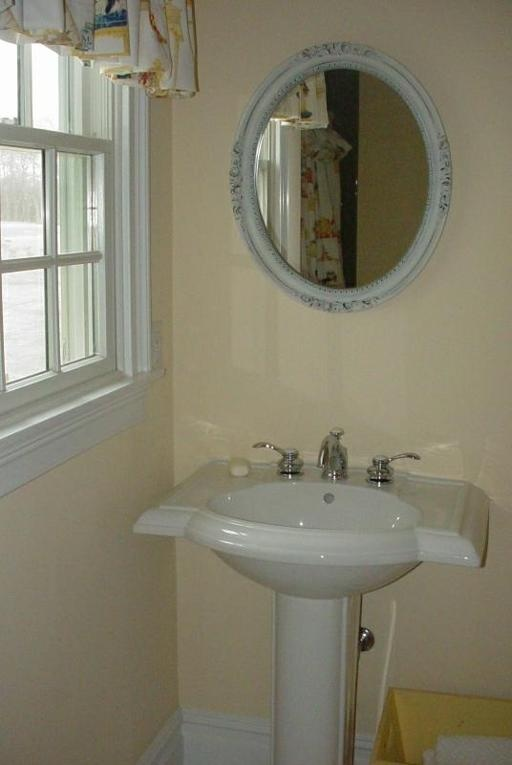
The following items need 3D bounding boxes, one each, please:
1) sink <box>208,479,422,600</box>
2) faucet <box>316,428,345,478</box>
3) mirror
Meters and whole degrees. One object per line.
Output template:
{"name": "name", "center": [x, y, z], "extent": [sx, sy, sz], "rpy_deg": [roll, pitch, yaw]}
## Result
{"name": "sink", "center": [0.105, 0.310, 1.273], "extent": [0.397, 0.182, 0.359], "rpy_deg": [3, 11, -1]}
{"name": "faucet", "center": [0.171, 0.151, 1.457], "extent": [0.052, 0.103, 0.064], "rpy_deg": [-2, 8, -27]}
{"name": "mirror", "center": [0.206, -0.473, 1.467], "extent": [0.596, 0.727, 0.042], "rpy_deg": [1, 7, 11]}
